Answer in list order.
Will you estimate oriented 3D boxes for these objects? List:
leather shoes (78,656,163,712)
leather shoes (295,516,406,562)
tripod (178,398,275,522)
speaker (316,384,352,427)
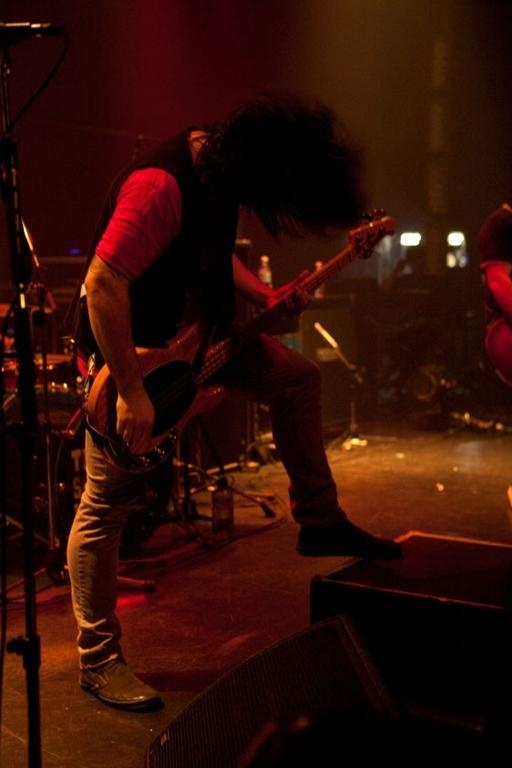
[{"bbox_3d":[-0.359,0.784,2.030,0.238,0.093,0.093,-6,-9,43],"label":"leather shoes"},{"bbox_3d":[0.235,0.403,2.007,0.299,0.112,0.099,-2,-3,11],"label":"leather shoes"},{"bbox_3d":[-0.239,0.407,4.318,0.671,0.809,0.606,-2,-4,-10],"label":"tripod"},{"bbox_3d":[0.637,0.168,6.285,0.201,0.341,0.379,-1,-4,29],"label":"speaker"}]
